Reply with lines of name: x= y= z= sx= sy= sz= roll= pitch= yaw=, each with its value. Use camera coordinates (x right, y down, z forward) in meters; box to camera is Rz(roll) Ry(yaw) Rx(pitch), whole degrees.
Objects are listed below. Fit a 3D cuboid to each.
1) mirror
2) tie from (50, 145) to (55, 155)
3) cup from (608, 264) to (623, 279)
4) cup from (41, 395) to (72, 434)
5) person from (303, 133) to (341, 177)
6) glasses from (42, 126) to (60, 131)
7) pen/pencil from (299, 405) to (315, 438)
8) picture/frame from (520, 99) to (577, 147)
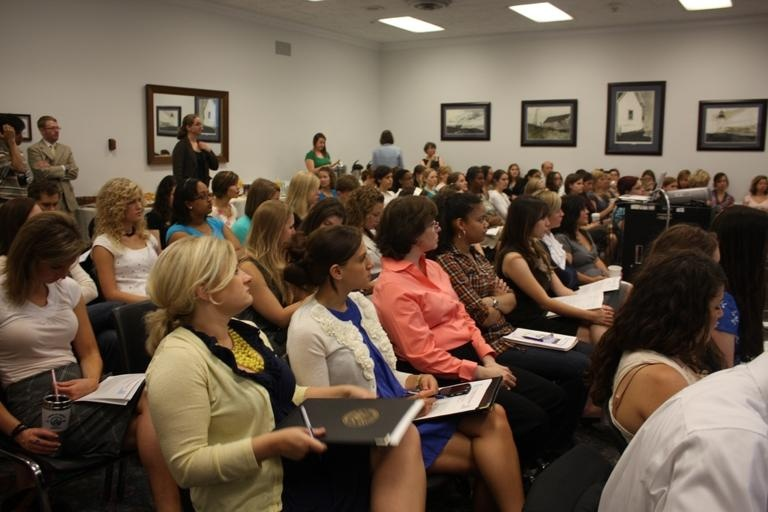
mirror: x=-3.063 y=-2.027 z=7.822 sx=0.108 sy=1.260 sz=1.452 roll=6 pitch=8 yaw=45
tie: x=-4.039 y=-1.302 z=6.254 sx=0.075 sy=0.110 sz=0.027 roll=3 pitch=-21 yaw=-21
cup: x=1.855 y=0.127 z=4.128 sx=0.138 sy=0.110 sz=0.143 roll=0 pitch=-1 yaw=0
cup: x=-1.444 y=0.692 z=2.261 sx=0.111 sy=0.129 sz=0.116 roll=9 pitch=5 yaw=-1
person: x=-1.172 y=-1.863 z=9.650 sx=0.589 sy=0.833 sz=0.555 roll=-3 pitch=17 yaw=-27
glasses: x=-4.034 y=-1.562 z=6.276 sx=0.102 sy=0.057 sz=0.216 roll=0 pitch=10 yaw=-5
pen/pencil: x=-0.283 y=0.599 z=1.869 sx=0.027 sy=0.010 sz=0.203 roll=-1 pitch=19 yaw=-13
picture/frame: x=3.485 y=-2.803 z=10.738 sx=1.003 sy=0.896 sz=0.082 roll=1 pitch=6 yaw=23
